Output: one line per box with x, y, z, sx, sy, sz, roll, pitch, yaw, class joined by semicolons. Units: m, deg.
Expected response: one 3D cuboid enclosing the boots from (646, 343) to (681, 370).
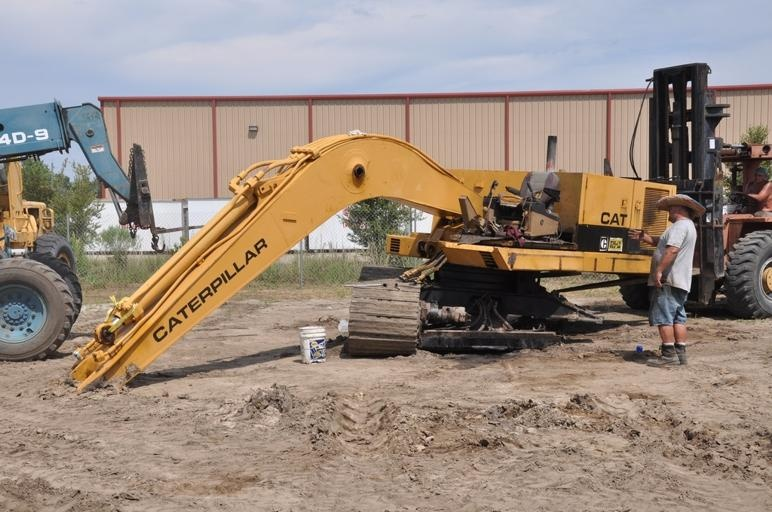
3.717;1.329;10.635;0.483;0.336;0.211;1;-1;26;boots

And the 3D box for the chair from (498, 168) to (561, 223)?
2.104;-0.882;11.652;0.668;0.735;0.587;4;-1;-38;chair

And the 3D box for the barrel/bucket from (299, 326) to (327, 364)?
-1.016;1.203;10.810;0.429;0.495;0.433;-1;0;0;barrel/bucket

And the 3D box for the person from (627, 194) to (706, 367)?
3.976;0.269;11.096;0.637;2.192;1.599;1;7;22;person
